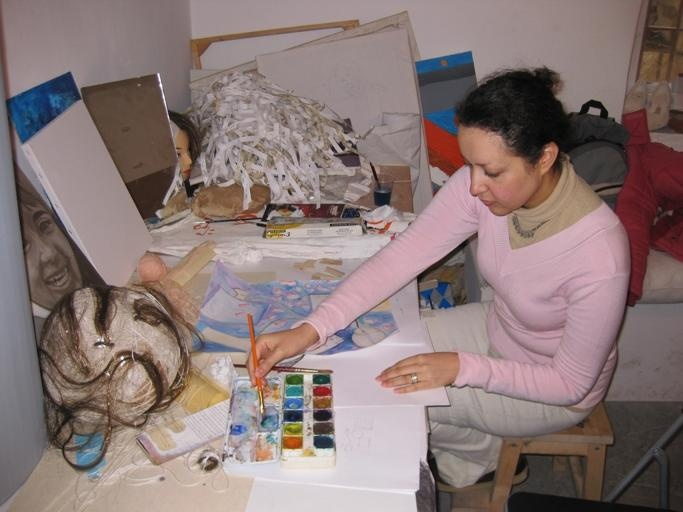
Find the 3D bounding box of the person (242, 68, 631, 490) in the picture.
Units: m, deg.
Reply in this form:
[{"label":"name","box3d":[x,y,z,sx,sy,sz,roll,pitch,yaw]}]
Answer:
[{"label":"person","box3d":[0.260,0.191,1.442,0.962,1.227,0.574,-5,35,7]}]

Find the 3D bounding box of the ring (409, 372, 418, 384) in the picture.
[{"label":"ring","box3d":[0.164,0.276,1.151,0.015,0.007,0.020,0,65,-1]}]
